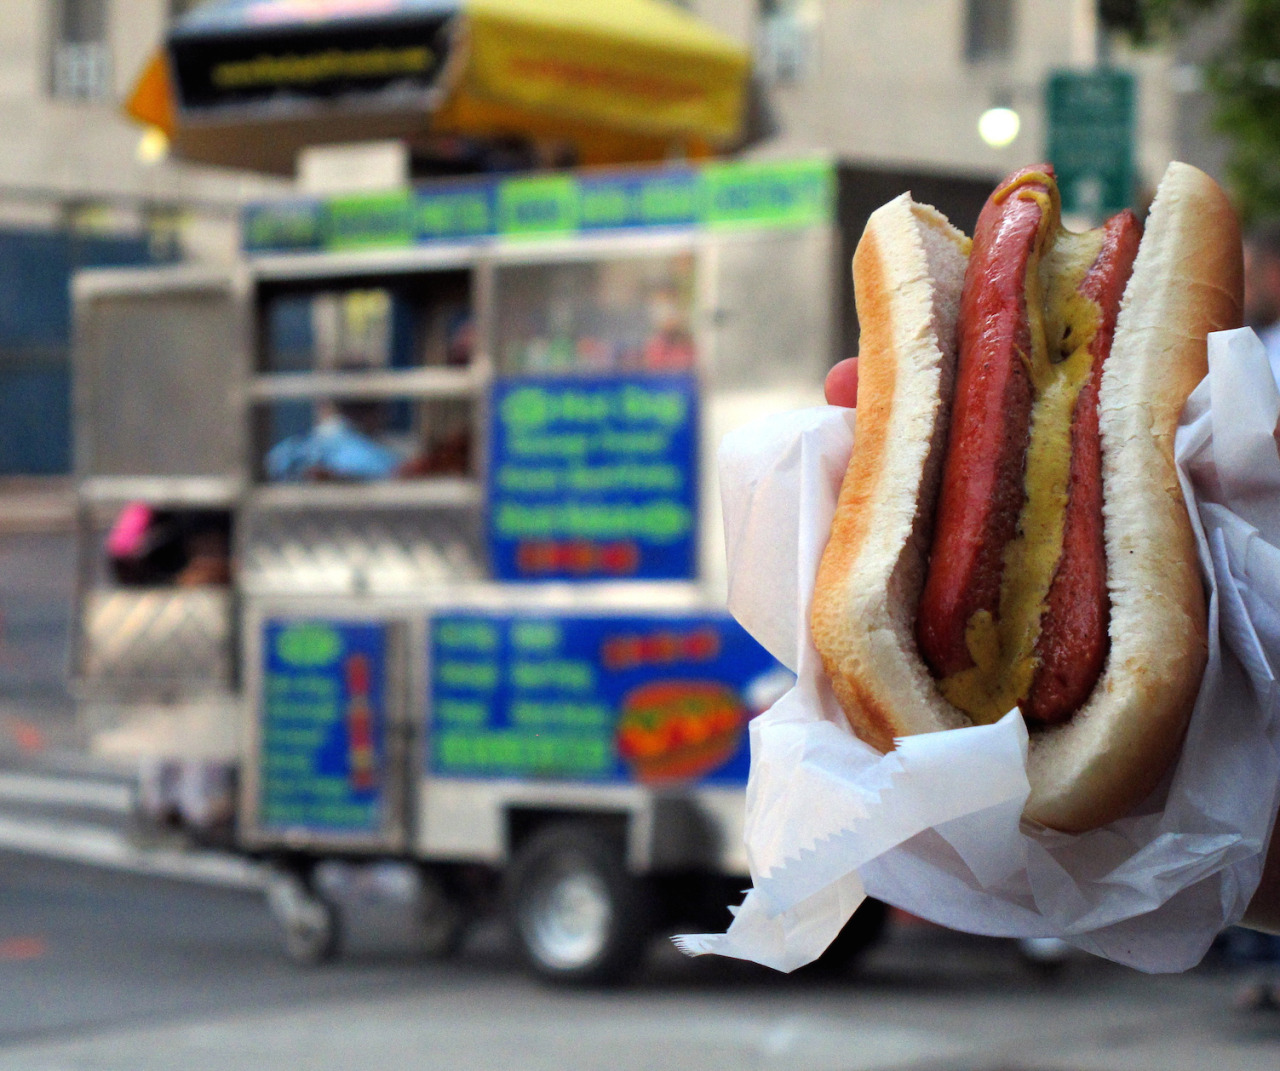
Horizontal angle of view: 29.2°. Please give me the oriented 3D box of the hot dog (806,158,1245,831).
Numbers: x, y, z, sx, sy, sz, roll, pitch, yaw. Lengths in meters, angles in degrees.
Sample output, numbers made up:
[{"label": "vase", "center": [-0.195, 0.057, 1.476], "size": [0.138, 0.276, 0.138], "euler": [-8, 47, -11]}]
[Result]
[{"label": "hot dog", "center": [0.565, -0.077, 3.552], "size": [0.621, 1.000, 0.275], "euler": [-1, -13, 12]}]
